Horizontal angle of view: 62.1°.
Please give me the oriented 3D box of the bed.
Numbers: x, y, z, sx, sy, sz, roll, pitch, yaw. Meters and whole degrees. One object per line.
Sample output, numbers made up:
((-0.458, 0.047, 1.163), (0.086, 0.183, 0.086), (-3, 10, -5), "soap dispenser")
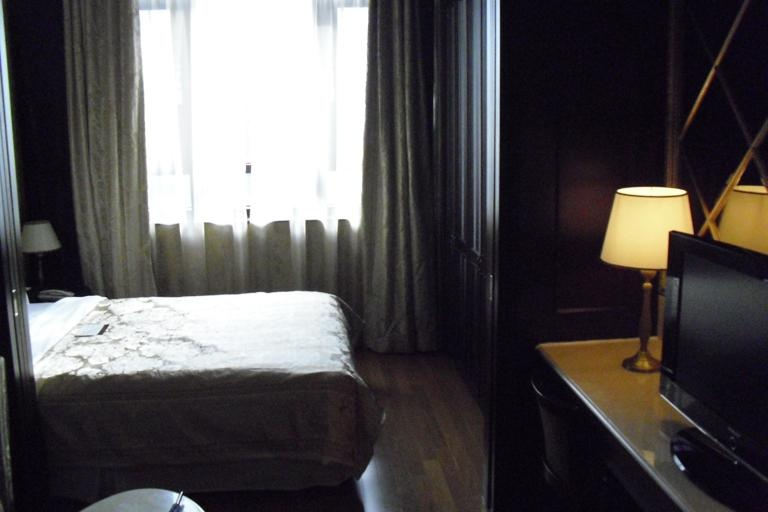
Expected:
((-1.028, 0.850, 3.797), (1.765, 0.780, 1.357), (-5, 16, -12), "bed")

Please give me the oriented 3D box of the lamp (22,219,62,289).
((-2.614, -0.005, 4.840), (0.267, 0.510, 0.263), (-10, 18, -38), "lamp")
